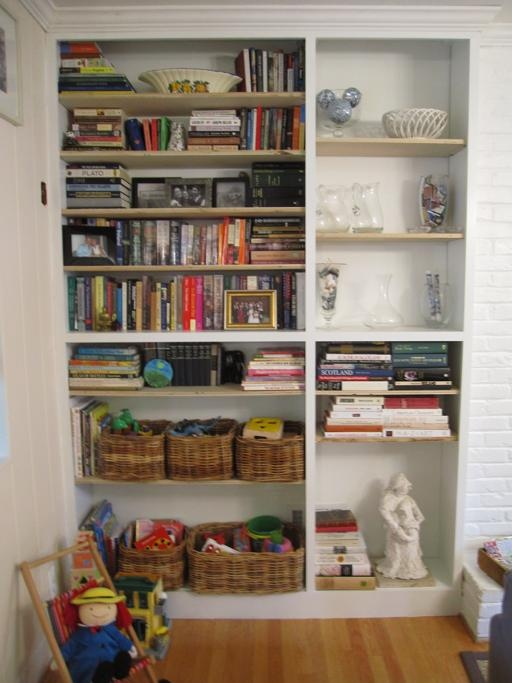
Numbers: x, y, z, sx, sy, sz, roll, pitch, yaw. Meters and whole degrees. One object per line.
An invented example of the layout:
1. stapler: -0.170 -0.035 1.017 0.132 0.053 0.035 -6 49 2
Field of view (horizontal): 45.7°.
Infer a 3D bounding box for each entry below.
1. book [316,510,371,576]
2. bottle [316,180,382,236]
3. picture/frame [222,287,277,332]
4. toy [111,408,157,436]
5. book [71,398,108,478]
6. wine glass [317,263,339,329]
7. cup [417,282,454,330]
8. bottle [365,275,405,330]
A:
1. book: 0.351 0.860 2.552 0.240 0.052 0.218 0 32 -2
2. bottle: 0.388 -0.554 2.534 0.263 0.195 0.249 -1 12 0
3. picture/frame: -0.025 -0.126 2.484 0.197 0.141 0.019 1 -4 -4
4. toy: -0.553 0.343 2.595 0.122 0.073 0.146 3 1 -25
5. book: -0.695 0.409 2.506 0.129 0.335 0.329 -3 -1 2
6. wine glass: 0.307 -0.198 2.597 0.100 0.270 0.176 1 12 8
7. cup: 0.766 -0.159 2.594 0.134 0.206 0.164 1 12 12
8. bottle: 0.532 -0.167 2.544 0.149 0.224 0.112 -1 12 -1
